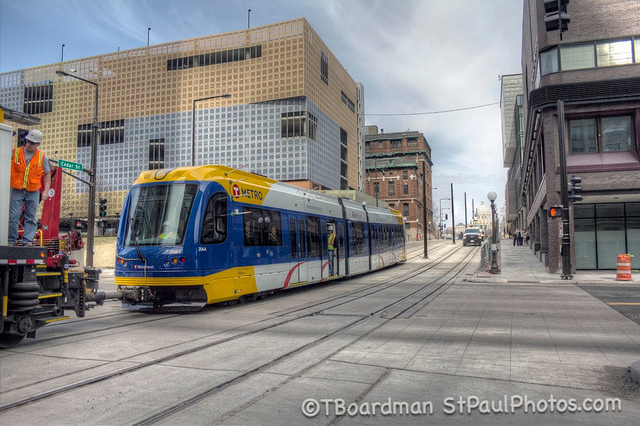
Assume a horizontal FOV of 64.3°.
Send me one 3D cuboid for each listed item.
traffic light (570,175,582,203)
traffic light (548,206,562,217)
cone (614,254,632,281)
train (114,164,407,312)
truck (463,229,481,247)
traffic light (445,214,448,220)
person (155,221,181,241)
[{"bbox_3d":[11.598,-1.145,23.074,0.380,1.137,1.447,1,2,26],"label":"traffic light"},{"bbox_3d":[10.668,-0.065,23.068,0.694,0.548,0.418,2,9,12],"label":"traffic light"},{"bbox_3d":[12.742,2.308,21.403,0.608,1.045,0.925,1,2,32],"label":"cone"},{"bbox_3d":[-0.854,1.470,22.778,4.223,3.666,18.846,-6,-9,23],"label":"train"},{"bbox_3d":[16.742,2.689,55.931,1.787,1.777,2.167,0,2,15],"label":"truck"},{"bbox_3d":[20.276,0.541,81.606,0.366,0.331,1.305,-21,-20,19],"label":"traffic light"},{"bbox_3d":[-4.241,0.475,14.254,0.699,0.500,0.182,1,2,26],"label":"person"}]
